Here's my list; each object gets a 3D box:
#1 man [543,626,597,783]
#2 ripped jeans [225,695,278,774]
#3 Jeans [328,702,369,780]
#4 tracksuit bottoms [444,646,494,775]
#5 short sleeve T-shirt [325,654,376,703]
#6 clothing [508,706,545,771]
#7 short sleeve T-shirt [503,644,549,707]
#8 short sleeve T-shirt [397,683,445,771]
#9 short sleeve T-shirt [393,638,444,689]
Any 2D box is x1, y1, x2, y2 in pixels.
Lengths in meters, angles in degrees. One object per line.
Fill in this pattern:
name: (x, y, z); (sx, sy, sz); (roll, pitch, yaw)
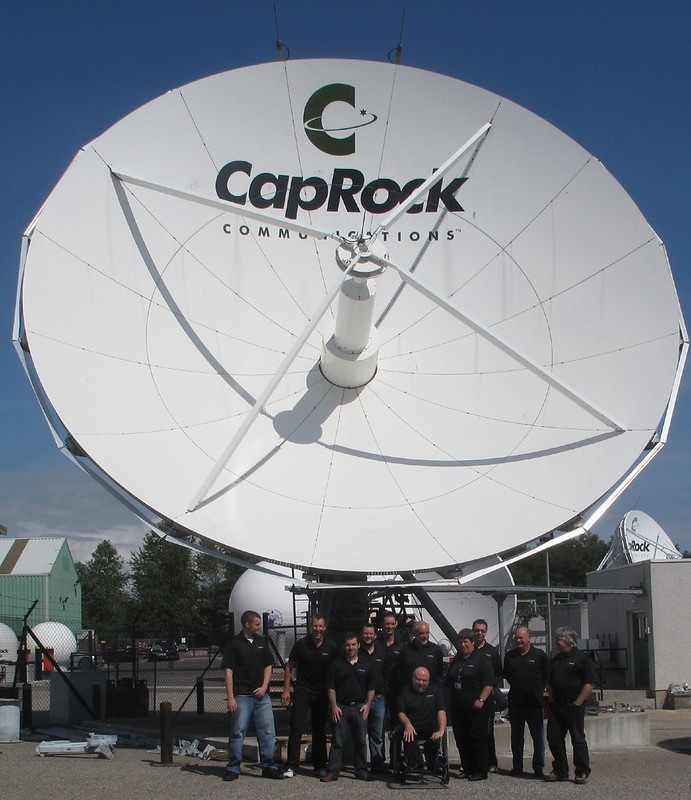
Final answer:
man: (3.342, 4.529, 14.653); (0.684, 2.178, 0.822); (-2, -16, 13)
ripped jeans: (-1.390, 4.987, 14.636); (0.736, 1.136, 0.633); (6, -16, -14)
Jeans: (0.034, 5.066, 14.545); (0.609, 1.022, 0.603); (3, -16, -3)
tracksuit bottoms: (1.861, 4.561, 14.707); (0.692, 2.124, 0.494); (-3, -16, 17)
short sleeve T-shirt: (0.098, 4.258, 14.864); (0.746, 0.765, 0.417); (1, -18, -2)
clothing: (2.772, 5.216, 15.047); (0.508, 1.012, 0.905); (-1, -16, 10)
short sleeve T-shirt: (2.821, 4.326, 15.356); (0.712, 0.933, 0.580); (-3, -9, 21)
short sleeve T-shirt: (1.107, 4.655, 14.279); (0.675, 1.434, 0.449); (1, -16, 3)
short sleeve T-shirt: (1.111, 4.074, 15.041); (0.842, 0.881, 0.464); (2, -30, 0)
